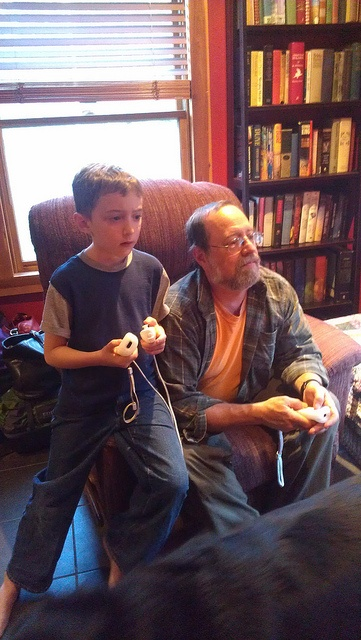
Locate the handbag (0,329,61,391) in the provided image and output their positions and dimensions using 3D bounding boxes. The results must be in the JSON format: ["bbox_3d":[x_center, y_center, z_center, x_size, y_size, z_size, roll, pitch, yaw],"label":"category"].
[{"bbox_3d":[-0.620,0.177,1.788,0.123,0.244,0.239,-23,-1,20],"label":"handbag"}]

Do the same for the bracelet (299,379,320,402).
[{"bbox_3d":[0.411,0.224,1.383,0.016,0.056,0.054,10,-6,44],"label":"bracelet"}]
